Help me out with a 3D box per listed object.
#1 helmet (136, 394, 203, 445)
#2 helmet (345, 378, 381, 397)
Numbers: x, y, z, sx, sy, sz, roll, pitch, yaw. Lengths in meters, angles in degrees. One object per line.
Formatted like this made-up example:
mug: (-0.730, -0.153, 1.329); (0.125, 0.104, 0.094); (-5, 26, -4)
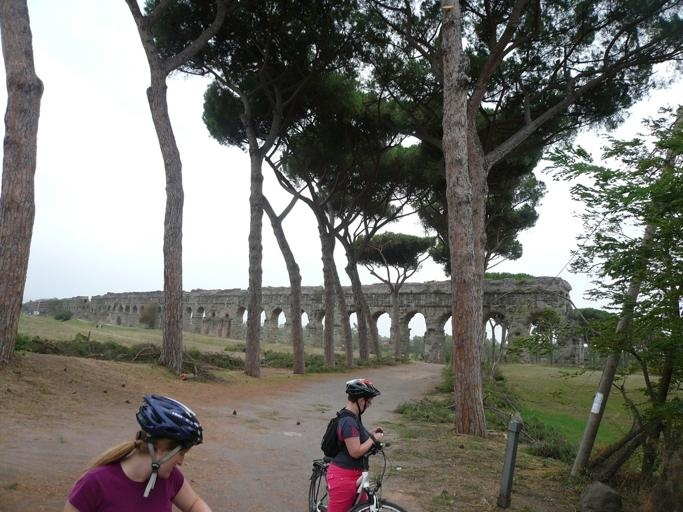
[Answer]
helmet: (-1.626, 1.554, 5.014); (0.582, 0.318, 0.441); (30, 8, -9)
helmet: (0.260, 1.672, 6.356); (0.349, 0.155, 0.269); (-1, 0, -18)
